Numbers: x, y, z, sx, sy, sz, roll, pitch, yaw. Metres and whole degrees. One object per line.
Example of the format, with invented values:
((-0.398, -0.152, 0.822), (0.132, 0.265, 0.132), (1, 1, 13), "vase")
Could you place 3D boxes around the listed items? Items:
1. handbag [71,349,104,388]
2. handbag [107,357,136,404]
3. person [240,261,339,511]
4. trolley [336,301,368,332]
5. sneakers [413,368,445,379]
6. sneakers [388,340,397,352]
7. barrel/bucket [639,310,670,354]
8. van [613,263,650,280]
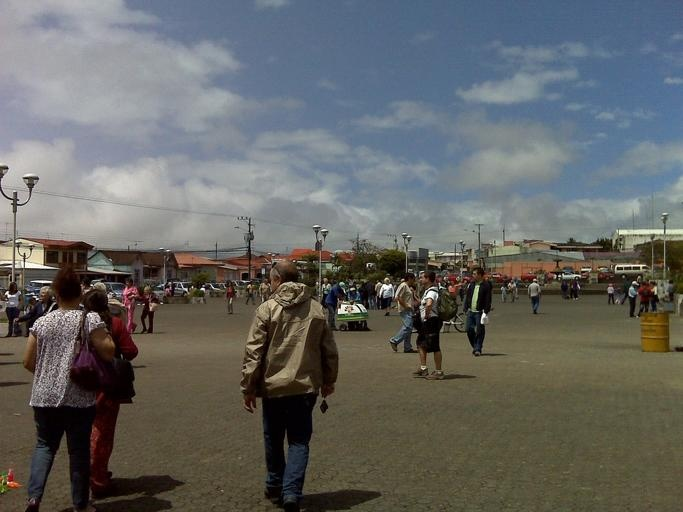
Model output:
((-1.971, 0.867, 4.616), (0.107, 0.243, 0.234), (-3, -13, 10), "handbag")
((-1.867, 1.046, 5.290), (0.205, 0.389, 0.269), (-1, 8, 20), "handbag")
((-0.482, 1.040, 5.193), (0.661, 2.009, 0.771), (-1, -1, 31), "person")
((0.422, 2.309, 22.924), (1.161, 1.104, 0.916), (-2, 1, 6), "trolley")
((1.583, 2.143, 10.966), (0.559, 0.243, 0.216), (3, -5, 11), "sneakers")
((1.325, 2.356, 15.314), (0.108, 0.224, 0.437), (-21, -43, -6), "sneakers")
((7.825, 1.871, 15.116), (0.905, 0.997, 0.876), (1, -4, 0), "barrel/bucket")
((37.978, 2.039, 79.048), (3.272, 1.497, 1.766), (-2, 6, 6), "van")
